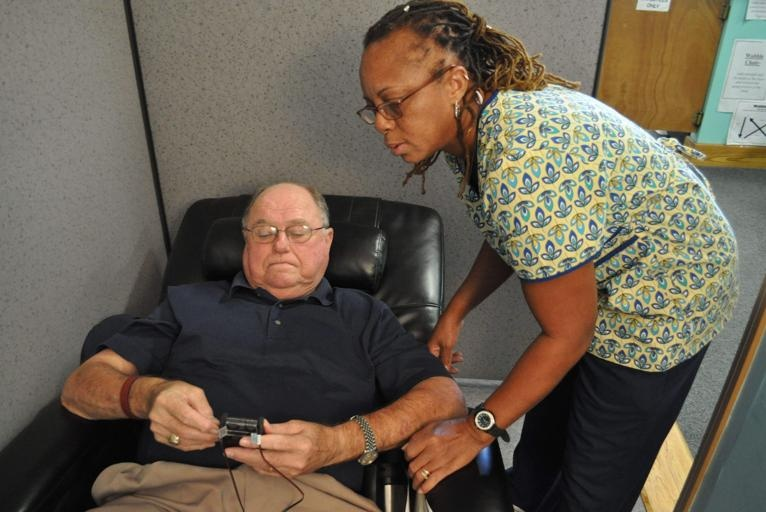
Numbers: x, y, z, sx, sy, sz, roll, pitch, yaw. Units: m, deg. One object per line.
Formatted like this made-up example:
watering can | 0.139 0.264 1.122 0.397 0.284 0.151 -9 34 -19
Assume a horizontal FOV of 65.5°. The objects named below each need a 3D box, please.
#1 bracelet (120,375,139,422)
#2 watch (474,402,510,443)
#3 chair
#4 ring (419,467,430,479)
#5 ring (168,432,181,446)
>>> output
bracelet | -0.882 0.496 2.073 0.054 0.124 0.097 -2 19 -16
watch | 0.337 0.515 1.843 0.105 0.066 0.106 31 3 -41
chair | -0.428 0.432 2.607 1.025 1.231 1.429 10 -16 15
ring | 0.136 0.695 1.901 0.027 0.029 0.021 -4 8 -32
ring | -0.685 0.604 1.953 0.039 0.039 0.018 5 11 3
